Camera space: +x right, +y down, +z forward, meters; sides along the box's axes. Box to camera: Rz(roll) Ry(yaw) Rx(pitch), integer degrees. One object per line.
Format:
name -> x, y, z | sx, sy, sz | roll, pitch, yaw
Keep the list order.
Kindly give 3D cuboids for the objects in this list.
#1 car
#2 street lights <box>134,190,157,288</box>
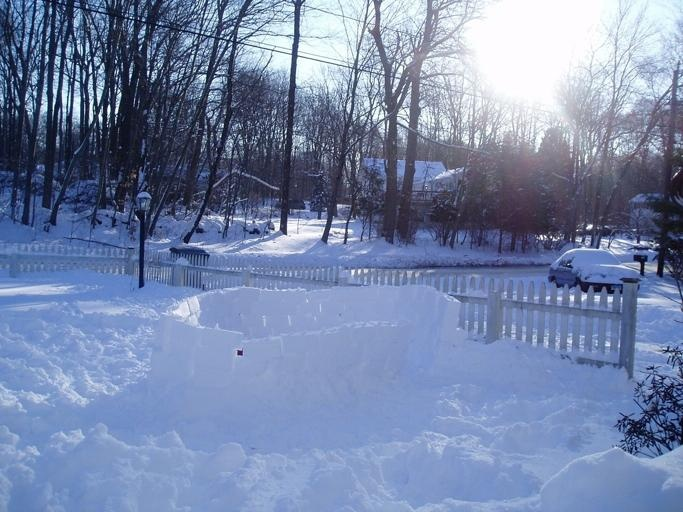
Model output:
car -> 8.245, 0.512, 19.794 | 1.717, 1.139, 3.204 | 5, 3, -7
street lights -> -5.753, -0.363, 17.292 | 0.492, 3.031, 0.532 | 8, 12, 10
